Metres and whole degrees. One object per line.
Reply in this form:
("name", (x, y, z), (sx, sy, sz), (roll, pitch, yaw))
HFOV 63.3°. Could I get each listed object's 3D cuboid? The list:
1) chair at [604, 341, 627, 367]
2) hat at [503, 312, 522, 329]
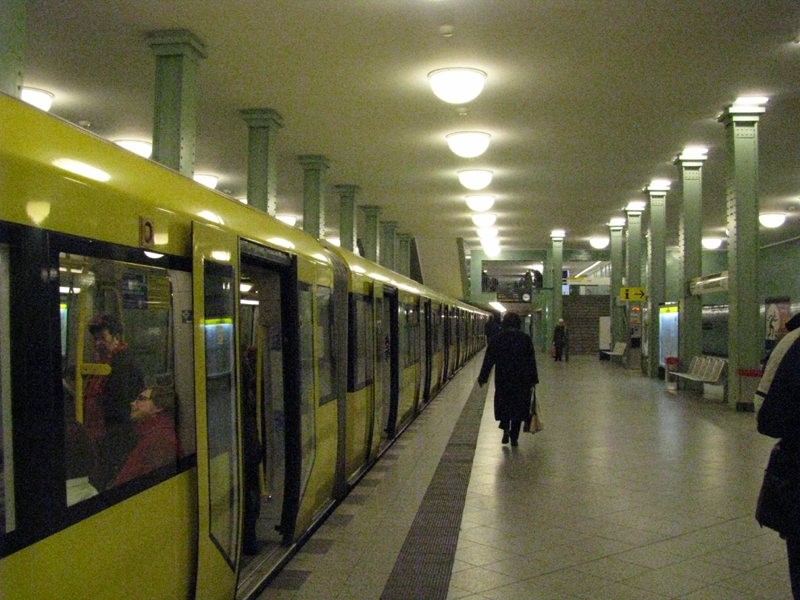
("chair", (9.166, 2.305, 27.076), (0.810, 1.158, 1.006), (-1, 0, -15))
("hat", (1.659, 0.297, 9.567), (0.215, 0.260, 0.254), (3, 6, 15))
